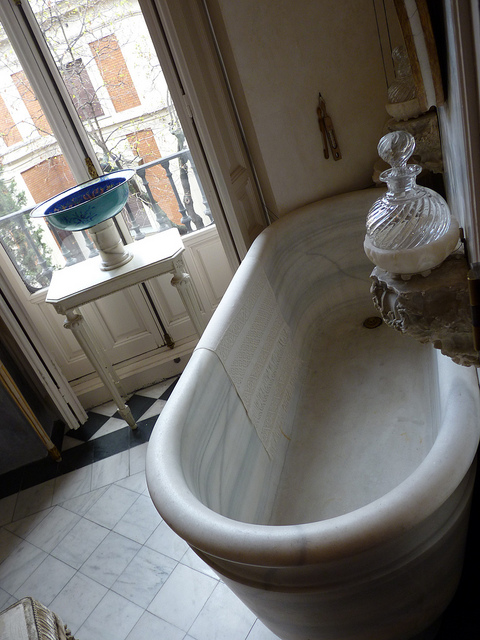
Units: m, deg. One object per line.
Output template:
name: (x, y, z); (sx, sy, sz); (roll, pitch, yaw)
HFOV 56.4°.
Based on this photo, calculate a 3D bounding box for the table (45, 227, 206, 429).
table: (-0.581, 0.022, 2.161); (0.698, 0.925, 0.350); (-27, 33, 1)

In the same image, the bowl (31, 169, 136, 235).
bowl: (-0.654, -0.507, 1.975); (0.452, 0.179, 0.404); (-24, 25, 0)

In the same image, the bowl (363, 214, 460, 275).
bowl: (0.254, -0.104, 0.671); (0.138, 0.049, 0.113); (-9, 28, 28)
